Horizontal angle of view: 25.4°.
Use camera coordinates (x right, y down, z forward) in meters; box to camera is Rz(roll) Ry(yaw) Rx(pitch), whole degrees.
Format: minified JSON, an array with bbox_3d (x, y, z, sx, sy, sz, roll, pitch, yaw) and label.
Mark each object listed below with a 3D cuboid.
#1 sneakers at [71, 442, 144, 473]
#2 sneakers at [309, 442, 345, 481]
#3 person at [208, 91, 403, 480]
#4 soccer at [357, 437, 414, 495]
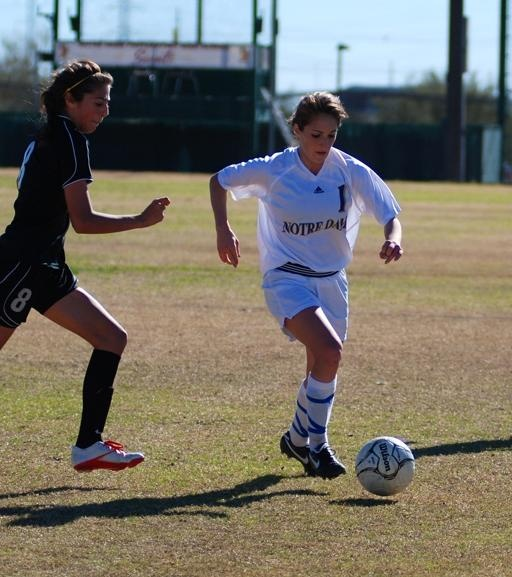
[{"bbox_3d":[-0.682,0.746,5.035,0.392,0.161,0.125,0,-10,-13],"label":"sneakers"},{"bbox_3d":[0.312,0.789,5.181,0.100,0.150,0.202,0,7,-18],"label":"sneakers"},{"bbox_3d":[0.215,-0.032,5.356,0.914,1.762,0.711,2,6,-1],"label":"person"},{"bbox_3d":[0.563,0.791,5.041,0.255,0.241,0.204,3,6,5],"label":"soccer"}]
